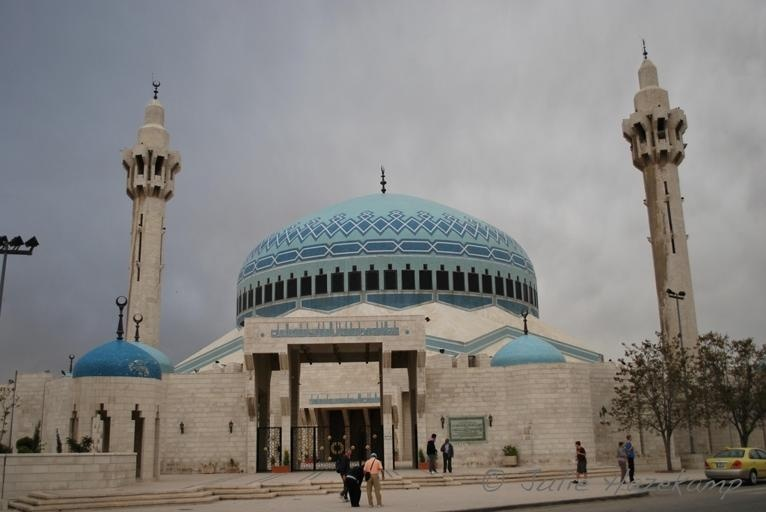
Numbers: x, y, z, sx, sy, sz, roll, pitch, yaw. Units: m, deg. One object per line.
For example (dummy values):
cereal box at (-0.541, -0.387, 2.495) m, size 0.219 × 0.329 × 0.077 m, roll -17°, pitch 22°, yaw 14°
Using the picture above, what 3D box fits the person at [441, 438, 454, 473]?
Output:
person at (3.035, 9.480, 37.648) m, size 0.455 × 1.577 × 1.284 m, roll -3°, pitch -19°, yaw 3°

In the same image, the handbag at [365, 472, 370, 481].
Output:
handbag at (-0.590, 7.902, 28.469) m, size 0.115 × 0.285 × 0.272 m, roll 7°, pitch -21°, yaw -27°

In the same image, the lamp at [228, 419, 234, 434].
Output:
lamp at (-7.998, 8.861, 41.198) m, size 0.271 × 0.637 × 0.149 m, roll 2°, pitch -19°, yaw -14°

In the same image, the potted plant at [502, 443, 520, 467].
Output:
potted plant at (6.580, 10.346, 41.242) m, size 0.999 × 1.153 × 0.886 m, roll -1°, pitch -17°, yaw 5°

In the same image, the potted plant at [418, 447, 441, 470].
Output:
potted plant at (2.471, 10.184, 39.918) m, size 1.171 × 1.443 × 1.143 m, roll 1°, pitch -17°, yaw -2°

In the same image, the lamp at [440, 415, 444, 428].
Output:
lamp at (3.108, 8.741, 41.747) m, size 0.221 × 0.653 × 0.074 m, roll 1°, pitch -19°, yaw -11°

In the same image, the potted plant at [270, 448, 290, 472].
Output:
potted plant at (-5.217, 10.282, 39.634) m, size 1.109 × 1.575 × 1.121 m, roll 1°, pitch -3°, yaw -7°
